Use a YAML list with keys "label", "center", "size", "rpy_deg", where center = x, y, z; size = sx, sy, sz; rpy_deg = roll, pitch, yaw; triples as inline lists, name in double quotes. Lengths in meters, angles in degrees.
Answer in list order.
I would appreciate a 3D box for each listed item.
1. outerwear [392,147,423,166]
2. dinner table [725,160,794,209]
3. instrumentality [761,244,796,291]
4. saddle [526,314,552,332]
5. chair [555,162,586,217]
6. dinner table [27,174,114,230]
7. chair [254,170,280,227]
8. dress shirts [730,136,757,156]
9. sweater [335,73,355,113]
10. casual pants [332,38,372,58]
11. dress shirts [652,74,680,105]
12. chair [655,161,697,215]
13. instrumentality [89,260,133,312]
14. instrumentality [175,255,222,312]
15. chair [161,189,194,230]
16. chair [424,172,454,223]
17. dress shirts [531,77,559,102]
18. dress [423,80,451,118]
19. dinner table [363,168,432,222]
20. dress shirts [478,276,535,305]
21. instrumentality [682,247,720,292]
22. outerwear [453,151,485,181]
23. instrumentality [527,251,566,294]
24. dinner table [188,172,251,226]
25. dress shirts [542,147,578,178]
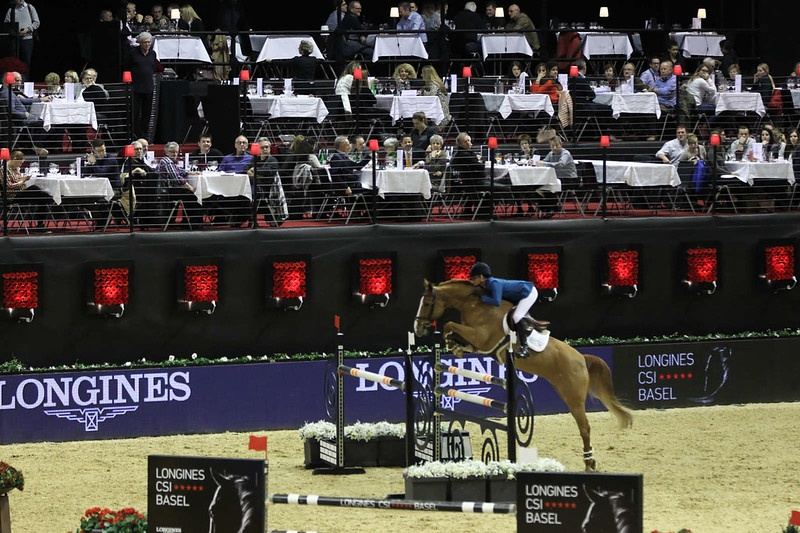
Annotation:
- label: "outerwear"
  center: [0.140, -2.288, 37.575]
  size: [0.446, 0.345, 0.452]
  rpy_deg: [0, 2, 2]
- label: "dinner table"
  center: [7.834, -1.805, 39.243]
  size: [1.186, 0.625, 1.192]
  rpy_deg: [1, 0, -20]
- label: "instrumentality"
  center: [8.136, -0.031, 38.747]
  size: [0.856, 0.893, 0.269]
  rpy_deg: [3, -2, -11]
- label: "saddle"
  center: [2.599, 1.084, 34.768]
  size: [0.367, 0.152, 0.366]
  rpy_deg: [7, 2, 16]
- label: "chair"
  center: [3.590, -1.781, 38.802]
  size: [0.655, 1.083, 0.722]
  rpy_deg: [-5, 5, 23]
- label: "dinner table"
  center: [-6.622, -1.336, 36.586]
  size: [1.546, 1.077, 0.742]
  rpy_deg: [0, 9, -10]
- label: "chair"
  center: [-2.715, -1.523, 37.423]
  size: [0.348, 0.995, 0.769]
  rpy_deg: [-6, 6, -35]
- label: "dress shirts"
  center: [7.503, -2.662, 39.673]
  size: [0.549, 0.374, 0.965]
  rpy_deg: [3, 9, 10]
- label: "sweater"
  center: [-1.270, -3.948, 40.440]
  size: [0.284, 0.736, 0.646]
  rpy_deg: [4, 8, -12]
- label: "casual pants"
  center: [-1.132, -5.298, 43.404]
  size: [0.697, 0.729, 0.511]
  rpy_deg: [-4, 13, -11]
- label: "dress shirts"
  center: [6.210, -4.154, 42.201]
  size: [0.645, 0.805, 0.480]
  rpy_deg: [-5, -26, 30]
- label: "chair"
  center: [6.169, -1.763, 39.661]
  size: [1.034, 1.486, 1.067]
  rpy_deg: [0, -3, 3]
- label: "instrumentality"
  center: [-5.831, 0.399, 36.088]
  size: [0.839, 0.971, 0.249]
  rpy_deg: [-1, 6, -20]
- label: "instrumentality"
  center: [-4.116, 0.334, 36.478]
  size: [0.944, 1.022, 0.309]
  rpy_deg: [-1, 5, -19]
- label: "chair"
  center: [-4.589, -1.241, 37.126]
  size: [0.833, 1.169, 0.700]
  rpy_deg: [0, 1, -20]
- label: "chair"
  center: [0.914, -1.289, 38.504]
  size: [0.603, 0.914, 0.687]
  rpy_deg: [5, 19, -12]
- label: "dress shirts"
  center: [3.296, -4.102, 41.385]
  size: [0.600, 0.604, 0.502]
  rpy_deg: [7, 6, 9]
- label: "dress"
  center: [0.908, -3.749, 40.303]
  size: [0.293, 0.790, 0.249]
  rpy_deg: [-9, 7, -13]
- label: "dinner table"
  center: [-0.092, -1.570, 37.573]
  size: [1.146, 0.652, 1.165]
  rpy_deg: [2, 5, -8]
- label: "dress shirts"
  center: [2.009, 0.453, 34.754]
  size: [0.726, 0.307, 0.556]
  rpy_deg: [-3, 21, 8]
- label: "instrumentality"
  center: [6.414, 0.032, 38.480]
  size: [0.793, 0.930, 0.219]
  rpy_deg: [2, 0, -9]
- label: "outerwear"
  center: [1.396, -2.130, 38.001]
  size: [0.706, 0.736, 0.549]
  rpy_deg: [1, 8, -2]
- label: "instrumentality"
  center: [3.012, 0.078, 37.840]
  size: [0.779, 0.810, 0.218]
  rpy_deg: [4, -4, -11]
- label: "dinner table"
  center: [-3.646, -1.490, 37.296]
  size: [1.026, 0.710, 1.340]
  rpy_deg: [-4, -11, -9]
- label: "dress shirts"
  center: [3.453, -2.206, 38.686]
  size: [0.710, 0.734, 0.577]
  rpy_deg: [-15, -3, -9]
